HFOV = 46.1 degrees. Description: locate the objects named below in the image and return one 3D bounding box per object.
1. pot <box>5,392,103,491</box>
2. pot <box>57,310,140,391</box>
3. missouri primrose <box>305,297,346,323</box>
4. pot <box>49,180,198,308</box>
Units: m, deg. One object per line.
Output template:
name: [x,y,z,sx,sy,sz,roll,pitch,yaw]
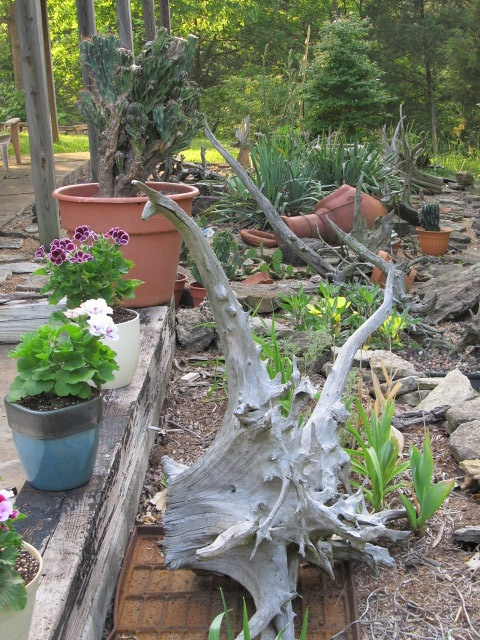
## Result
pot: [-0.397,0.255,1.359,0.266,0.260,0.227,-1,7,-10]
pot: [-0.428,0.099,1.887,0.304,0.217,0.274,-1,19,3]
missouri primrose: [0.443,-0.073,2.824,0.165,0.093,0.148,-25,14,-36]
pot: [-0.535,-0.387,2.687,0.690,0.451,0.635,2,17,-1]
